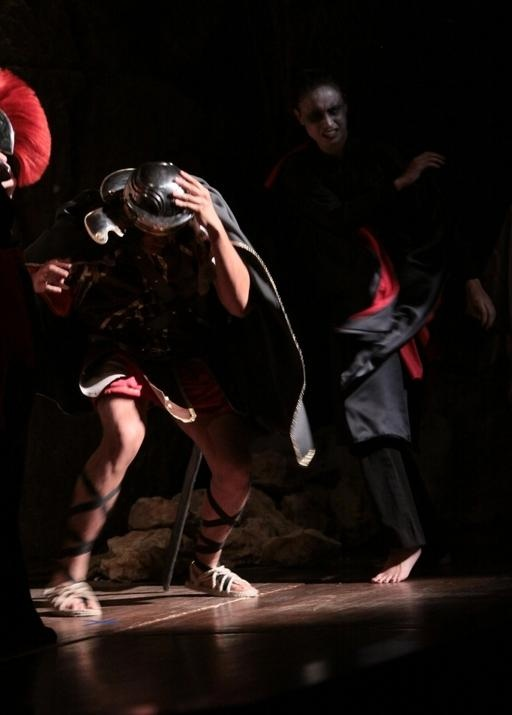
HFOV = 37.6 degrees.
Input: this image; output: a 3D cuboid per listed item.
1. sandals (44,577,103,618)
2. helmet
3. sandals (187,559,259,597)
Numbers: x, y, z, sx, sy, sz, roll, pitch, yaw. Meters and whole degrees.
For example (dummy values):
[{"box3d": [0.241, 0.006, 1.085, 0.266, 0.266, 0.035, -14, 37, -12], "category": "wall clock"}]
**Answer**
[{"box3d": [-0.373, 0.491, 1.524, 0.061, 0.040, 0.129, 4, -12, -25], "category": "sandals"}, {"box3d": [-0.263, -0.343, 1.694, 0.236, 0.195, 0.242, 0, 21, -5], "category": "helmet"}, {"box3d": [-0.086, 0.513, 1.759, 0.153, 0.046, 0.077, -2, -4, 42], "category": "sandals"}]
